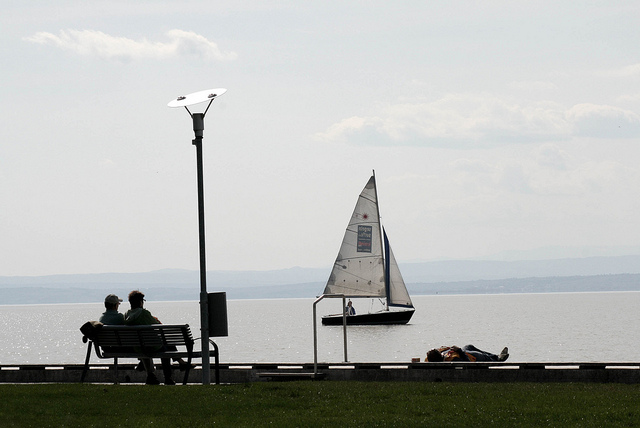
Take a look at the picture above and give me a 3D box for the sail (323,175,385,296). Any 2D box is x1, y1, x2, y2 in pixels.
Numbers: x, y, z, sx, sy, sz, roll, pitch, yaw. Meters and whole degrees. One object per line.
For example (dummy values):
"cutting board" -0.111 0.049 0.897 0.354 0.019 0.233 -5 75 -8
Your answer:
"sail" 4.555 2.995 189.179 11.354 15.564 2.931 2 3 -34

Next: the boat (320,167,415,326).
"boat" 6.378 5.305 189.793 13.664 18.313 5.144 2 4 37
